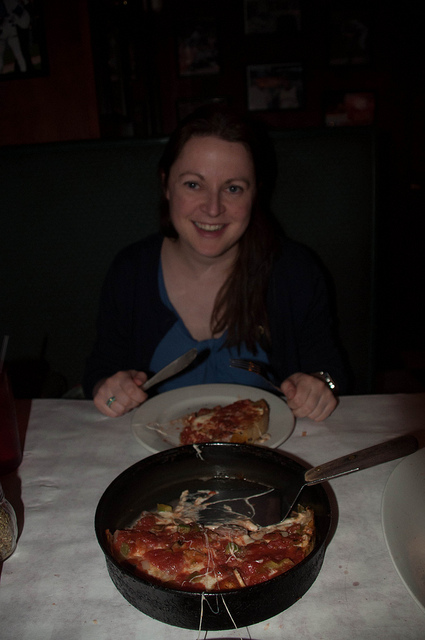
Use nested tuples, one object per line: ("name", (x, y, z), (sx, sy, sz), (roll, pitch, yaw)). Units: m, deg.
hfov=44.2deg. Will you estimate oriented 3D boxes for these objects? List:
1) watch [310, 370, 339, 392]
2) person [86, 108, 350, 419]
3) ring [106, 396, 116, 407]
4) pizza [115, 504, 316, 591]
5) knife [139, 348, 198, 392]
("watch", (0.305, 0.176, 1.422), (0.065, 0.019, 0.061), (33, 8, -19))
("person", (0.030, -0.173, 1.693), (0.890, 0.994, 0.574), (0, 29, 0))
("ring", (-0.244, 0.194, 1.251), (0.019, 0.004, 0.018), (-25, 44, 27))
("pizza", (0.000, 0.331, 0.786), (0.299, 0.037, 0.176), (0, 16, 11))
("knife", (-0.121, 0.116, 1.309), (0.145, 0.087, 0.096), (-12, 18, -29))
